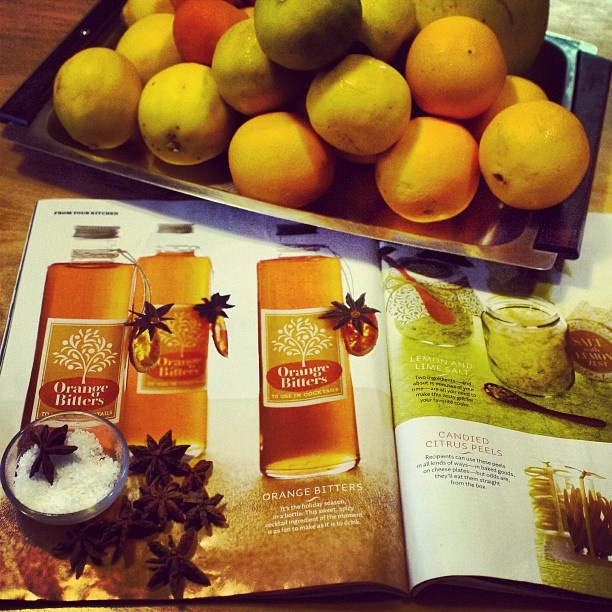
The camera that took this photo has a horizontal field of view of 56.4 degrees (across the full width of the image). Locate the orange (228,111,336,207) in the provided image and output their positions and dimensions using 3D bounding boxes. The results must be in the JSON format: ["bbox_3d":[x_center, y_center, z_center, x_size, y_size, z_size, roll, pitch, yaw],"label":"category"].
[{"bbox_3d":[-0.012,-0.115,0.465,0.084,0.075,0.060,11,61,10],"label":"orange"}]

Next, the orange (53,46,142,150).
[{"bbox_3d":[-0.179,-0.181,0.500,0.074,0.063,0.064,-10,61,-6],"label":"orange"}]

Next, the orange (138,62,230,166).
[{"bbox_3d":[-0.100,-0.158,0.467,0.073,0.066,0.085,6,54,-6],"label":"orange"}]

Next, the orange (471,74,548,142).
[{"bbox_3d":[0.178,-0.175,0.518,0.063,0.070,0.062,11,18,23],"label":"orange"}]

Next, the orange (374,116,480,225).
[{"bbox_3d":[0.102,-0.113,0.496,0.089,0.080,0.077,0,91,5],"label":"orange"}]

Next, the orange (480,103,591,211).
[{"bbox_3d":[0.176,-0.128,0.488,0.097,0.079,0.079,-13,21,-37],"label":"orange"}]
